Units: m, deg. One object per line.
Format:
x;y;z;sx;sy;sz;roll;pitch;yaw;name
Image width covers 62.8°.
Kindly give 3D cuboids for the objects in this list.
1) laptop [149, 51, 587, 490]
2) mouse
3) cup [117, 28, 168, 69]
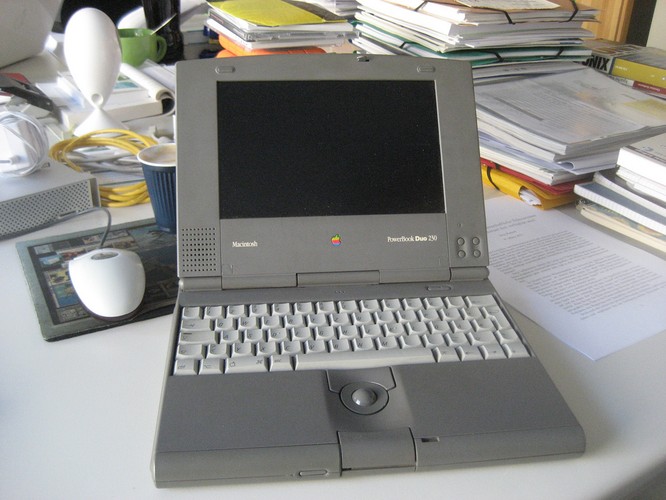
0.002;0.039;0.675;0.483;0.233;0.513;-2;38;-5;laptop
-0.303;0.030;0.743;0.107;0.043;0.137;-15;52;-24;mouse
-0.517;-0.555;1.515;0.093;0.093;0.143;18;27;24;cup
